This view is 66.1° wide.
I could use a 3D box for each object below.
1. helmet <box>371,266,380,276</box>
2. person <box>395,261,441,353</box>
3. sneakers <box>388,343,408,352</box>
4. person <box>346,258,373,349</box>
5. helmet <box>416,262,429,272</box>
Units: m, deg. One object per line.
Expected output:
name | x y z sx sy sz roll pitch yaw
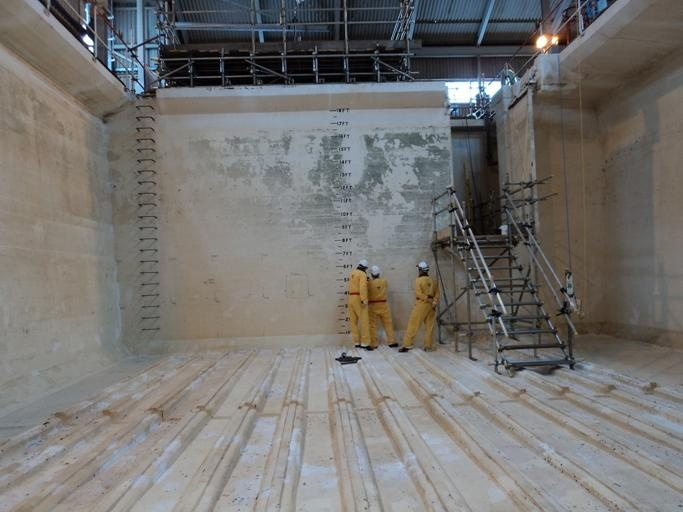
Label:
helmet | 0.705 0.273 10.901 0.156 0.145 0.257 0 3 3
person | 1.586 1.016 10.433 0.551 1.690 0.959 5 15 26
sneakers | 1.153 1.804 10.559 0.345 0.171 0.127 8 -6 11
person | 0.366 0.986 10.648 0.461 1.761 0.583 -2 13 1
helmet | 1.621 0.199 10.583 0.205 0.205 0.168 -6 -1 44
